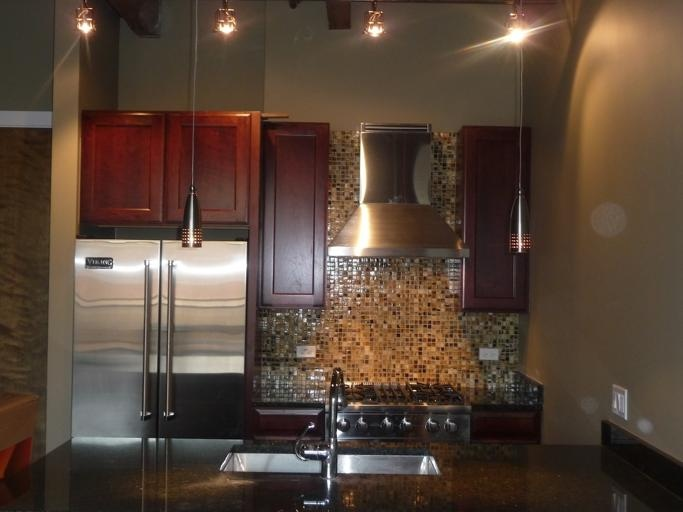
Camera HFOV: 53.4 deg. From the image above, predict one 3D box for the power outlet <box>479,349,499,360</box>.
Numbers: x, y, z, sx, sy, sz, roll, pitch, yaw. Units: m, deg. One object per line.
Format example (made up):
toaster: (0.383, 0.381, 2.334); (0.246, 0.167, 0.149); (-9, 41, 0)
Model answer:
power outlet: (1.110, 0.738, 5.118); (0.148, 0.092, 0.019); (0, 6, -4)

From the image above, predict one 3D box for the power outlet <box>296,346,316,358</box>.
power outlet: (-0.267, 0.713, 5.094); (0.145, 0.095, 0.022); (-1, 6, -6)

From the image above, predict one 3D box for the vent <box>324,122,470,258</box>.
vent: (0.381, -0.470, 4.693); (0.899, 0.906, 0.485); (0, 6, 1)

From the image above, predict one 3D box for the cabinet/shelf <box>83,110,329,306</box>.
cabinet/shelf: (-0.949, -0.309, 4.623); (1.172, 1.213, 0.397); (0, -5, -6)

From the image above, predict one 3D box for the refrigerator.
refrigerator: (-1.235, 0.530, 4.487); (1.150, 1.605, 0.588); (0, -2, -4)
